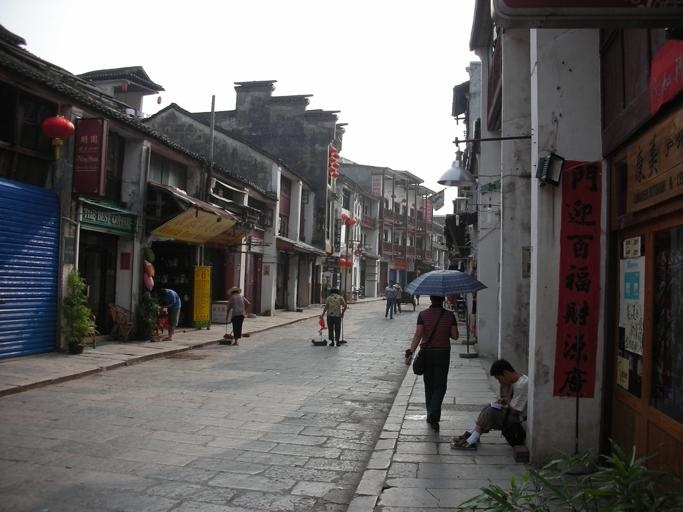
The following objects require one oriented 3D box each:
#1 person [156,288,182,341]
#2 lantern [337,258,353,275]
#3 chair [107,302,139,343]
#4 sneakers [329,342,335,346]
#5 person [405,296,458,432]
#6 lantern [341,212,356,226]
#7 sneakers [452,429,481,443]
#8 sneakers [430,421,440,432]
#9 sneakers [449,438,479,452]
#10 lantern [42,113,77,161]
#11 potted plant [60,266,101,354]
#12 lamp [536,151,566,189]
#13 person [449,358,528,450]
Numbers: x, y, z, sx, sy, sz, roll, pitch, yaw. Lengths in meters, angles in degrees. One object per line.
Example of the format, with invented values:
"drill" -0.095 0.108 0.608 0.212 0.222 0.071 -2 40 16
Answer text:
"person" -5.401 1.647 18.165 0.760 1.389 3.794 2 0 -16
"lantern" 0.216 0.630 41.655 0.993 0.667 1.037 2 1 12
"chair" -5.913 1.735 15.610 0.590 0.881 0.578 3 -2 -4
"sneakers" -0.304 2.491 17.031 0.179 0.141 0.359 2 0 2
"person" 1.284 1.449 8.381 0.702 1.912 0.781 2 0 12
"lantern" 0.334 -2.884 41.541 1.097 0.425 1.074 4 -8 -15
"sneakers" 1.527 2.240 7.371 0.414 0.180 0.158 1 -5 -6
"sneakers" 1.290 2.307 8.096 0.132 0.142 0.288 2 0 8
"sneakers" 1.516 2.318 7.248 0.209 0.079 0.147 8 -11 4
"lantern" -6.175 -2.624 12.588 0.568 0.834 0.886 2 0 -38
"potted plant" -6.032 1.210 13.609 0.570 1.673 1.465 2 0 -3
"lamp" 2.366 -0.993 6.597 0.305 0.389 0.201 2 0 8
"person" 1.987 1.868 7.600 1.205 1.302 0.746 2 -2 3
